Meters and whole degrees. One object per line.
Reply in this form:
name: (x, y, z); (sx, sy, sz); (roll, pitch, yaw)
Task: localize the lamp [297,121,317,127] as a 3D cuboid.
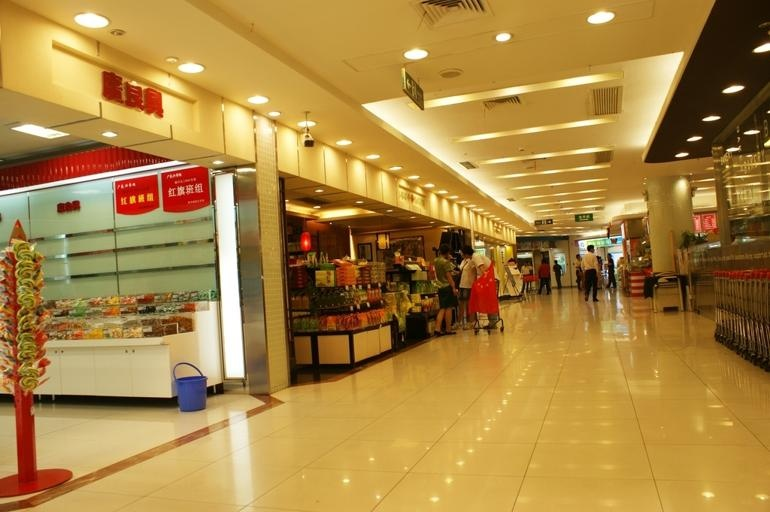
lamp: (-1.233, -2.078, 8.201); (0.276, 0.080, 0.304); (-5, 0, -10)

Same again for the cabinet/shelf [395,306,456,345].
cabinet/shelf: (0.757, 1.542, 11.575); (0.734, 0.490, 1.058); (0, 0, 21)

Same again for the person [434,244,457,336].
person: (1.332, 0.778, 11.779); (0.524, 1.956, 1.307); (-5, 0, 5)

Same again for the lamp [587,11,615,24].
lamp: (2.484, -2.723, 5.931); (0.292, 0.053, 0.249); (-4, 0, 19)

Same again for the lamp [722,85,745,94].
lamp: (5.411, -2.576, 8.014); (0.351, 0.063, 0.271); (-5, 0, -26)

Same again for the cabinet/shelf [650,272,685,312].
cabinet/shelf: (7.049, 0.906, 12.874); (0.886, 1.119, 0.850); (-1, -8, 8)

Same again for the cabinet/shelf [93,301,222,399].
cabinet/shelf: (-3.064, 1.367, 7.580); (1.777, 1.508, 1.288); (-5, -13, 17)
